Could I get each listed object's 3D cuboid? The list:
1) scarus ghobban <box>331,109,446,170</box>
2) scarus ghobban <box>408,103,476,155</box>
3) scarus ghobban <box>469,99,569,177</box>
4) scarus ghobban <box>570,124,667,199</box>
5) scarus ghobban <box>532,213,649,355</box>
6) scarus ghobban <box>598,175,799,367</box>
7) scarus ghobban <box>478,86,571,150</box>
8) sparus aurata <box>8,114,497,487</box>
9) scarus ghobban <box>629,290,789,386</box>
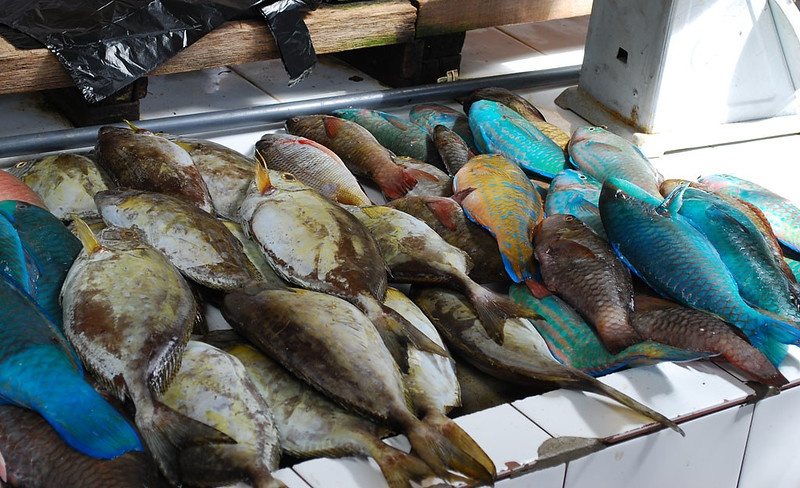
[{"bbox_3d":[-0.071,-0.371,2.443,0.193,0.149,0.505,-24,35,-37],"label":"scarus ghobban"},{"bbox_3d":[0.155,-0.467,2.524,0.235,0.138,0.077,19,74,-12],"label":"scarus ghobban"},{"bbox_3d":[0.383,-0.361,2.305,0.328,0.105,0.216,45,39,22],"label":"scarus ghobban"},{"bbox_3d":[0.708,-0.261,2.223,0.191,0.072,0.354,-22,41,-39],"label":"scarus ghobban"},{"bbox_3d":[0.486,0.082,1.915,0.197,0.147,0.474,-27,41,-6],"label":"scarus ghobban"},{"bbox_3d":[0.794,0.093,1.844,0.211,0.222,0.525,-37,58,-23],"label":"scarus ghobban"},{"bbox_3d":[0.463,-0.483,2.524,0.354,0.110,0.211,46,30,16],"label":"scarus ghobban"},{"bbox_3d":[-0.483,0.120,1.870,0.571,0.431,1.494,-11,34,-43],"label":"sparus aurata"},{"bbox_3d":[0.801,0.252,1.762,0.363,0.063,0.143,20,36,32],"label":"scarus ghobban"}]
